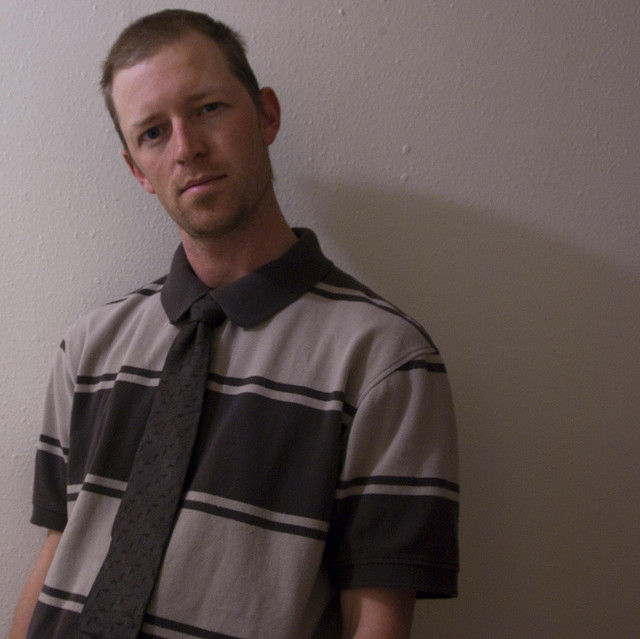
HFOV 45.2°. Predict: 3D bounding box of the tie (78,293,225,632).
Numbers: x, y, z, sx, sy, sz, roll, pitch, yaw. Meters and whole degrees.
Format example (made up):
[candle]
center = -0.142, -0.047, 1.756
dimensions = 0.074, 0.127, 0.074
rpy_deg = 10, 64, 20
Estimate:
[tie]
center = -0.257, 0.268, 1.190
dimensions = 0.108, 0.616, 0.030
rpy_deg = 10, -11, 9
